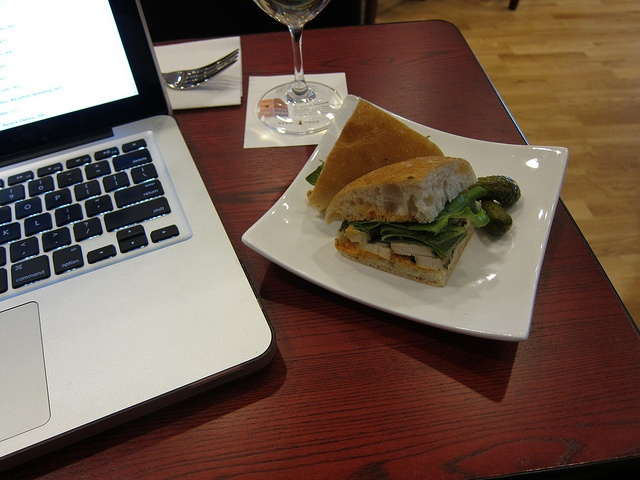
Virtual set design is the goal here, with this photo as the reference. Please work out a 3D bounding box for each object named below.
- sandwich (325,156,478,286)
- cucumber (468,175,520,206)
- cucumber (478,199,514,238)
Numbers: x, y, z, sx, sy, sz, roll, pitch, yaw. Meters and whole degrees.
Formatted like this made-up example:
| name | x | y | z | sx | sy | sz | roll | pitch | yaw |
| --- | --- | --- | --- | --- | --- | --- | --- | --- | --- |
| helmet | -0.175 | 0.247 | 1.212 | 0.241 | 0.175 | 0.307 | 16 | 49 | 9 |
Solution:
| name | x | y | z | sx | sy | sz | roll | pitch | yaw |
| --- | --- | --- | --- | --- | --- | --- | --- | --- | --- |
| sandwich | 0.108 | -0.014 | 0.639 | 0.161 | 0.107 | 0.173 | 15 | 52 | 30 |
| cucumber | 0.224 | -0.065 | 0.626 | 0.057 | 0.027 | 0.034 | 9 | 65 | 25 |
| cucumber | 0.218 | -0.025 | 0.612 | 0.043 | 0.027 | 0.024 | 15 | 86 | 10 |
